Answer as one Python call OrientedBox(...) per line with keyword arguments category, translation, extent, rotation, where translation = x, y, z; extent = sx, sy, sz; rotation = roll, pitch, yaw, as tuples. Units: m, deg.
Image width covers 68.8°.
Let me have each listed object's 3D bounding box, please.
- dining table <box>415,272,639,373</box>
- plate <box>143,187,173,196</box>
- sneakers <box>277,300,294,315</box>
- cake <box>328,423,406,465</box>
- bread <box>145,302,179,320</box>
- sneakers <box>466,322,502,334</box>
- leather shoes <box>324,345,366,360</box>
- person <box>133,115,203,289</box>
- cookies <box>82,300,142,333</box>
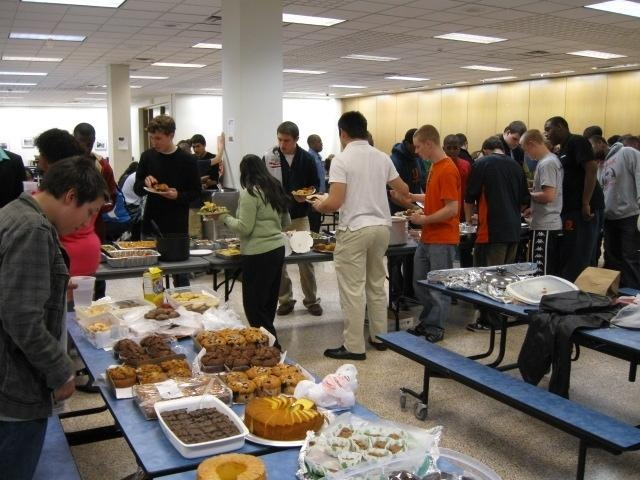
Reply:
OrientedBox(category="dining table", translation=(1.486, 0.612, 3.422), extent=(0.449, 0.253, 1.041), rotation=(0, 9, -33))
OrientedBox(category="plate", translation=(-1.424, -0.430, 4.080), extent=(0.336, 0.077, 0.132), rotation=(5, 12, 17))
OrientedBox(category="sneakers", translation=(-0.399, 0.773, 5.357), extent=(0.102, 0.101, 0.267), rotation=(2, 3, 25))
OrientedBox(category="cake", translation=(0.156, 0.685, 1.570), extent=(0.268, 0.050, 0.211), rotation=(0, 11, -7))
OrientedBox(category="bread", translation=(-0.895, 0.398, 2.619), extent=(0.106, 0.027, 0.105), rotation=(14, 15, 41))
OrientedBox(category="sneakers", translation=(1.759, 0.920, 4.994), extent=(0.388, 0.141, 0.121), rotation=(-1, 4, 3))
OrientedBox(category="leather shoes", translation=(0.208, 0.999, 4.229), extent=(0.383, 0.137, 0.128), rotation=(5, 1, 1))
OrientedBox(category="person", translation=(-1.461, -0.217, 4.346), extent=(0.619, 1.708, 0.615), rotation=(7, 12, 20))
OrientedBox(category="cookies", translation=(-1.216, 0.414, 2.649), extent=(0.192, 0.041, 0.188), rotation=(-11, 21, -39))
